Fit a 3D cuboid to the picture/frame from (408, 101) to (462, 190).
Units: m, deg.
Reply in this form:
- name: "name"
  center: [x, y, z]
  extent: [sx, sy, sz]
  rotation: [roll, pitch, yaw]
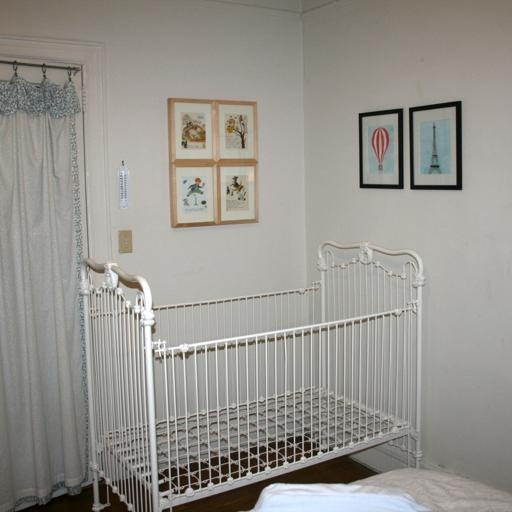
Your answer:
- name: "picture/frame"
  center: [0.890, -0.541, 2.626]
  extent: [0.030, 0.422, 0.336]
  rotation: [-3, 7, -27]

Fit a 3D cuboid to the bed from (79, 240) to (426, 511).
- name: "bed"
  center: [-0.061, 0.648, 2.836]
  extent: [1.613, 1.388, 1.312]
  rotation: [-5, 7, -32]

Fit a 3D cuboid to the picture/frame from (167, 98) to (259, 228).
- name: "picture/frame"
  center: [-0.281, -0.571, 3.139]
  extent: [0.596, 0.910, 0.052]
  rotation: [-7, 12, -33]

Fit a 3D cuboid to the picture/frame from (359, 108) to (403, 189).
- name: "picture/frame"
  center: [0.705, -0.604, 2.923]
  extent: [0.022, 0.605, 0.397]
  rotation: [-3, 4, -28]
